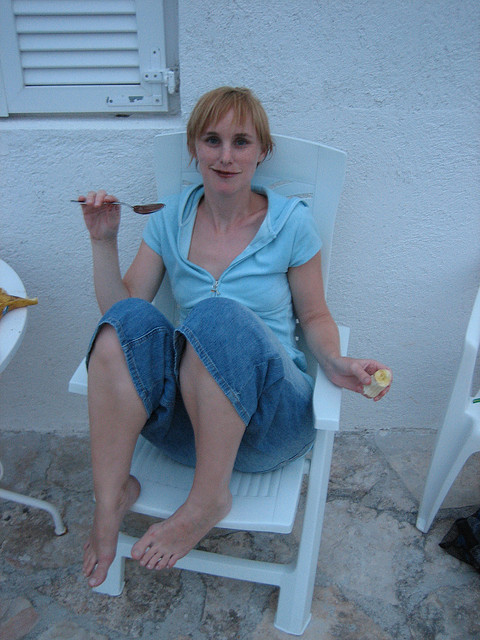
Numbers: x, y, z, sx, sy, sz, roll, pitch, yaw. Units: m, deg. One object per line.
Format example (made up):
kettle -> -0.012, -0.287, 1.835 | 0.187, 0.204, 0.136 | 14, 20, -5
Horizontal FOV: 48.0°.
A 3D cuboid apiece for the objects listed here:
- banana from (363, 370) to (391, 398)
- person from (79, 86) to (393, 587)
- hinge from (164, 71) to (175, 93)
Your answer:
banana -> 0.259, 0.122, 1.011 | 0.037, 0.023, 0.057 | 35, 83, 21
person -> -0.047, -0.016, 1.157 | 0.602, 0.843, 0.765 | -3, 32, -8
hinge -> -0.194, -0.649, 1.477 | 0.028, 0.057, 0.033 | -2, 33, -7
